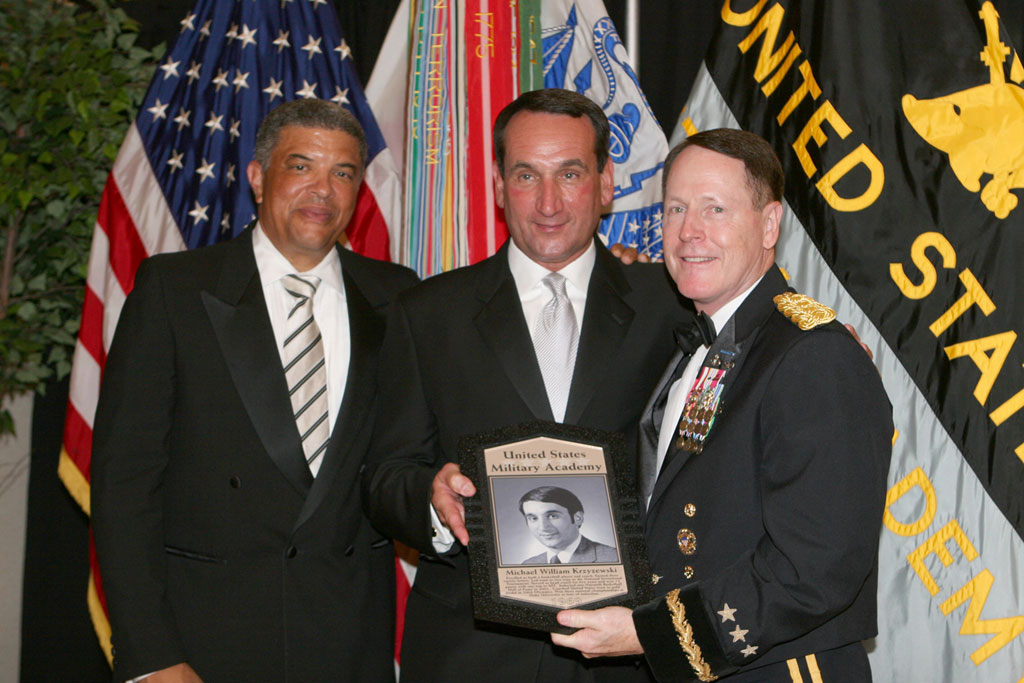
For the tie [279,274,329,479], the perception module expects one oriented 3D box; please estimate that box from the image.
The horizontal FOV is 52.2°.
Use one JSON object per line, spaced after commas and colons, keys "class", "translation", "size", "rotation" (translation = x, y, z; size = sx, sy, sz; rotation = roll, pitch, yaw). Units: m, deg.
{"class": "tie", "translation": [-0.921, 0.122, 4.673], "size": [0.201, 0.831, 0.073], "rotation": [-3, -15, -16]}
